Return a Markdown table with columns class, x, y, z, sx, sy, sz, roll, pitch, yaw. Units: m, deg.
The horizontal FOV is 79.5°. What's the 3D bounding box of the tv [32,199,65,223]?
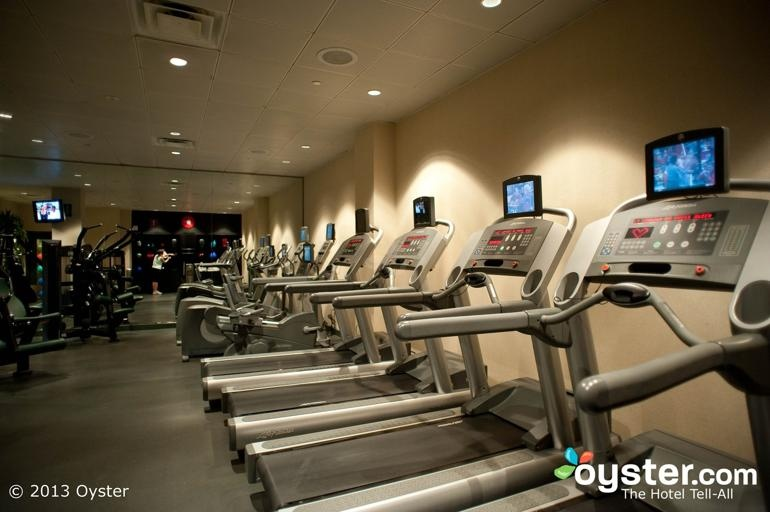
| class | x | y | z | sx | sy | sz | roll | pitch | yaw |
| --- | --- | --- | --- | --- | --- | --- | --- | --- | --- |
| tv | -5.236 | -0.701 | 7.211 | 0.053 | 0.381 | 0.400 | 4 | 8 | 34 |
